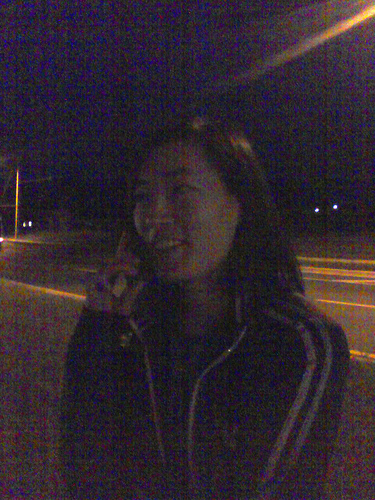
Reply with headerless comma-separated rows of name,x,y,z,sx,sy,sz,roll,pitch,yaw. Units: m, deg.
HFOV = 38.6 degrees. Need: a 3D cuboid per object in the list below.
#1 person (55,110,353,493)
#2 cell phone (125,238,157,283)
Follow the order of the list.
person,0.084,0.313,2.756,1.518,1.904,0.471,0,1,-11
cell phone,-0.231,0.052,2.640,0.146,0.202,0.043,5,25,20
